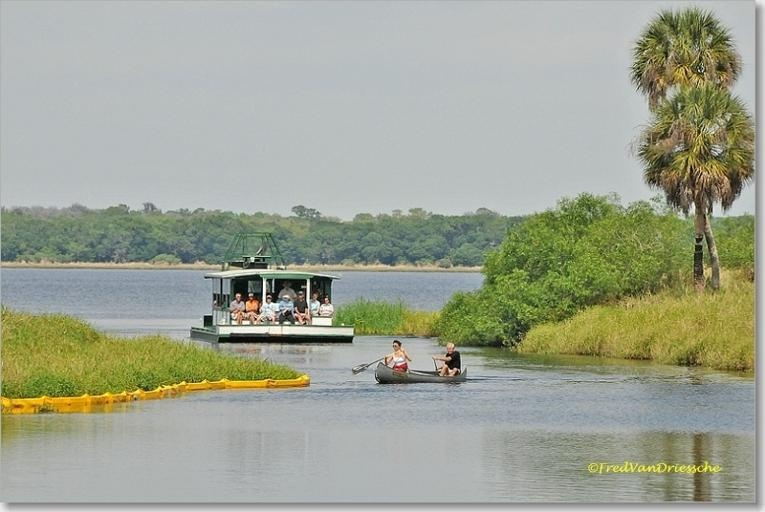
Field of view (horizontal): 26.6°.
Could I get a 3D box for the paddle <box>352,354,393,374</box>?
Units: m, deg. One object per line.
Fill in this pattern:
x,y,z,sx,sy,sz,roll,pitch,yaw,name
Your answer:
-0.502,5.347,79.693,2.441,0.527,0.182,-24,0,38,paddle

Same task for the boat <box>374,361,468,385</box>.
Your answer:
1.651,5.707,76.459,4.735,1.170,1.523,1,-2,-12,boat
